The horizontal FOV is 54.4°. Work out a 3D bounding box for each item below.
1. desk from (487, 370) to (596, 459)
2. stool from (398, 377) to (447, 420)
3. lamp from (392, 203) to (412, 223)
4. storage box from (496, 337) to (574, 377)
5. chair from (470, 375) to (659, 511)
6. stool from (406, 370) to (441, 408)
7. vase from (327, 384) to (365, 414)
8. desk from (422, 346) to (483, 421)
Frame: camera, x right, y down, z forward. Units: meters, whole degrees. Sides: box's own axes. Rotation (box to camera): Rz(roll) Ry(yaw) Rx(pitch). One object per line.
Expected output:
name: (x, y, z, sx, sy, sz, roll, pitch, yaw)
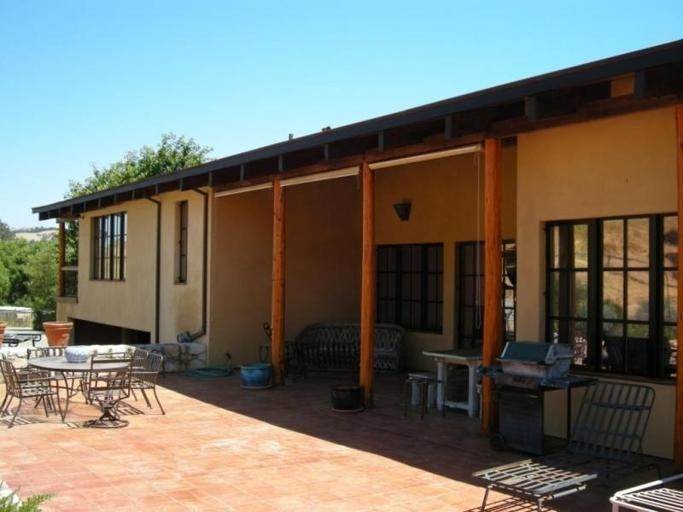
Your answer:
desk: (2.478, 1.968, 8.277, 0.751, 0.901, 1.197, 11, -10, -31)
stool: (1.219, 2.059, 10.170, 0.518, 0.707, 0.681, 0, 0, -29)
lamp: (1.276, -0.917, 14.008, 0.344, 0.401, 0.374, 3, -8, -25)
storage box: (2.426, 1.139, 8.103, 0.523, 0.305, 0.532, -3, -3, 43)
chair: (2.499, 2.122, 7.514, 2.243, 1.504, 1.086, 0, -2, -38)
stool: (1.294, 2.092, 10.267, 0.598, 0.637, 0.633, 1, -1, -9)
vase: (0.099, 2.163, 10.097, 0.461, 0.372, 0.236, 0, -3, -2)
desk: (1.799, 1.882, 10.122, 0.850, 0.804, 0.849, 5, -7, -37)
